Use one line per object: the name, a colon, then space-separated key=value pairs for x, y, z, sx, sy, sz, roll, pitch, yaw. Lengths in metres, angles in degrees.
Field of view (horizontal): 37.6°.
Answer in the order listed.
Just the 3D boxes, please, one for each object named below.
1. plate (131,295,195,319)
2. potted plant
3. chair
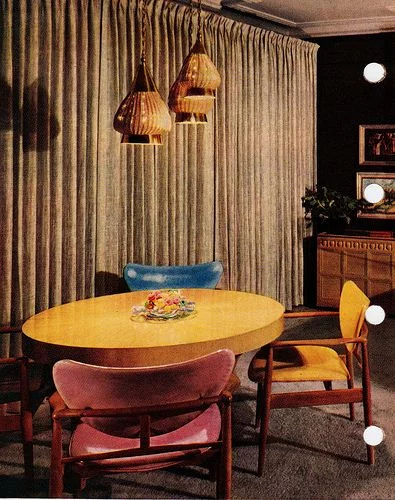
plate: x=-0.155 y=0.251 z=2.687 sx=0.296 sy=0.111 sz=0.208 roll=-2 pitch=9 yaw=-9
potted plant: x=1.308 y=-0.356 z=5.635 sx=0.579 sy=0.473 sz=0.542 roll=5 pitch=11 yaw=29
chair: x=-0.074 y=0.526 z=3.109 sx=1.727 sy=0.741 sz=1.550 roll=-2 pitch=9 yaw=-10
